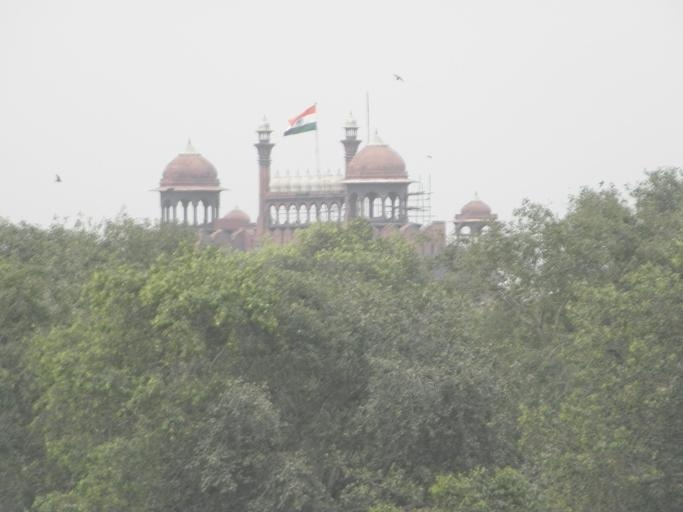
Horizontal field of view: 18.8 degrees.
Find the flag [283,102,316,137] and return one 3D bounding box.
[{"bbox_3d":[-1.592,-5.382,81.257,1.266,1.371,0.189,-7,-32,4],"label":"flag"}]
